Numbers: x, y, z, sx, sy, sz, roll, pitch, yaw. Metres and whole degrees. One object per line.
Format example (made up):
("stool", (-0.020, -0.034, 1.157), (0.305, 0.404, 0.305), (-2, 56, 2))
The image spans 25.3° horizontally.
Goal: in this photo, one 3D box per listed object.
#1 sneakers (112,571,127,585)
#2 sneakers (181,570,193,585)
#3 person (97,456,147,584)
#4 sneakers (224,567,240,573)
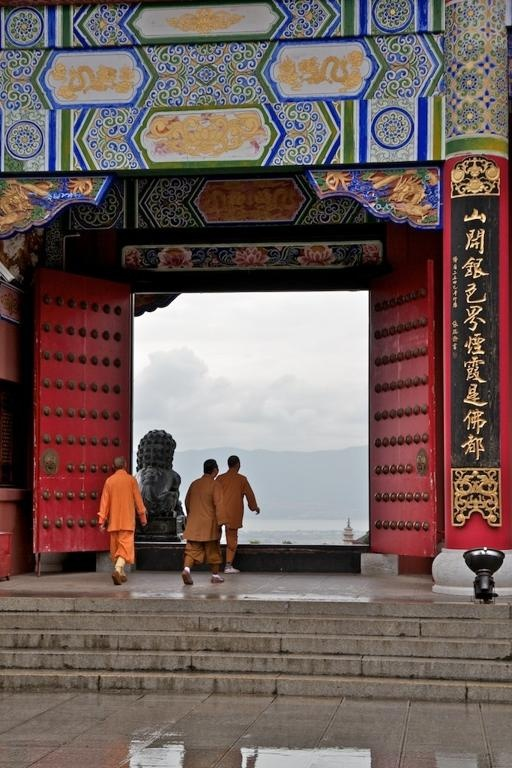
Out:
("sneakers", (-1.065, 1.508, 8.897), (0.058, 0.080, 0.191), (0, 0, 9))
("sneakers", (-0.548, 1.539, 8.987), (0.058, 0.170, 0.076), (-6, 13, 2))
("person", (-1.119, 1.144, 9.525), (0.369, 1.058, 1.563), (1, -3, -7))
("sneakers", (-0.214, 1.706, 10.465), (0.123, 0.051, 0.052), (2, -3, -7))
